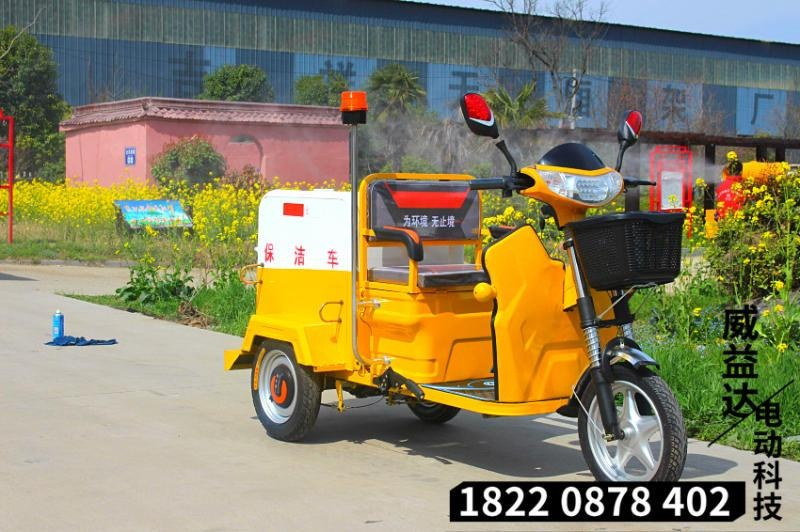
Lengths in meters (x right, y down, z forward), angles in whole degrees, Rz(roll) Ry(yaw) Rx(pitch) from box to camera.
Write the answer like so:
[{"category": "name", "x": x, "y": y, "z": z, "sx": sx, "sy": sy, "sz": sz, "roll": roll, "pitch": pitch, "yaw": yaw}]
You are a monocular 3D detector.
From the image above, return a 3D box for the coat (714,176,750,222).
[{"category": "coat", "x": 5.026, "y": -1.022, "z": 16.963, "sx": 0.337, "sy": 0.697, "sz": 0.430, "roll": -8, "pitch": 5, "yaw": -39}]

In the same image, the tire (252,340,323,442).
[{"category": "tire", "x": -1.201, "y": 1.338, "z": 12.094, "sx": 0.292, "sy": 1.230, "sz": 0.942, "roll": 0, "pitch": 4, "yaw": -40}]

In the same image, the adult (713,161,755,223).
[{"category": "adult", "x": 5.221, "y": -1.155, "z": 17.825, "sx": 0.464, "sy": 1.407, "sz": 0.414, "roll": -7, "pitch": 40, "yaw": 9}]

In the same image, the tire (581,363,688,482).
[{"category": "tire", "x": 2.335, "y": 1.556, "z": 10.870, "sx": 0.862, "sy": 1.292, "sz": 1.031, "roll": -8, "pitch": 14, "yaw": -41}]

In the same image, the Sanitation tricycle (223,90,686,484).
[{"category": "Sanitation tricycle", "x": 0.522, "y": 0.160, "z": 12.121, "sx": 5.449, "sy": 3.840, "sz": 2.594, "roll": 4, "pitch": 1, "yaw": 42}]
